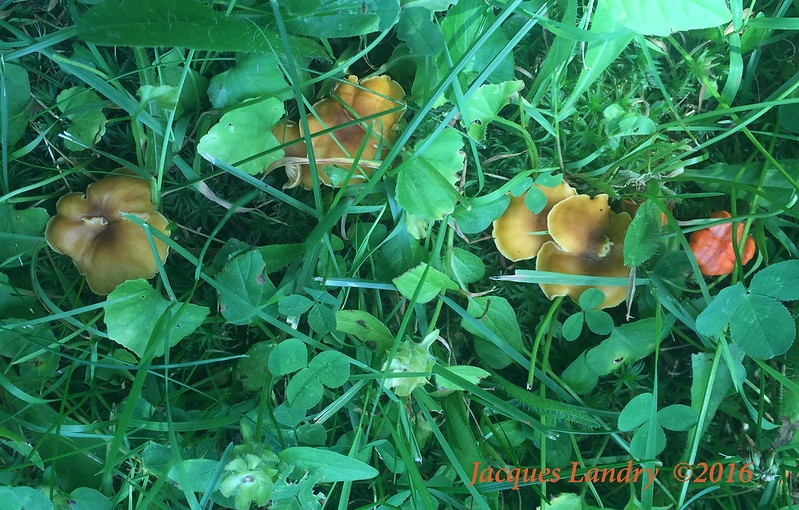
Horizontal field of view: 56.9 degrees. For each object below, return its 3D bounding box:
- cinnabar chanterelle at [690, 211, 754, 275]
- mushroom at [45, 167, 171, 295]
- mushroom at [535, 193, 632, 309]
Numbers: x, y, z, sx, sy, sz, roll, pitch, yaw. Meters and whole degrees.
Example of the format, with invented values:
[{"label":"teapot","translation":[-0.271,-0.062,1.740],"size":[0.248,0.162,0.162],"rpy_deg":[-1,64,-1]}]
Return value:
[{"label":"cinnabar chanterelle","translation":[1.165,-0.050,2.752],"size":[0.216,0.092,0.217],"rpy_deg":[43,88,-8]},{"label":"mushroom","translation":[-1.054,-0.078,2.699],"size":[0.417,0.255,0.376],"rpy_deg":[-28,56,-15]},{"label":"mushroom","translation":[0.668,-0.072,2.659],"size":[0.328,0.190,0.249],"rpy_deg":[4,54,7]}]
